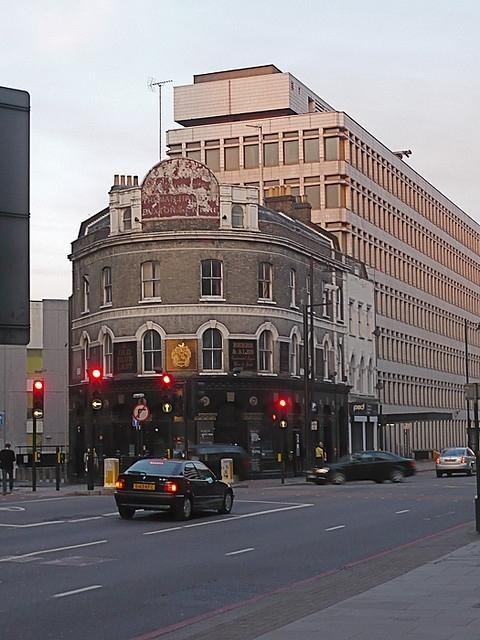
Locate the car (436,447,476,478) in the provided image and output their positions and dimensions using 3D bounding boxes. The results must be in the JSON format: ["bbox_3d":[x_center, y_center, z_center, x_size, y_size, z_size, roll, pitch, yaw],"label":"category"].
[{"bbox_3d":[9.967,6.527,48.805,1.236,1.334,2.192,-8,-11,41],"label":"car"}]

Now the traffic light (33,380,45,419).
[{"bbox_3d":[-6.711,2.570,35.158,0.313,1.300,1.284,1,-8,-14],"label":"traffic light"}]

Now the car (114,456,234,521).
[{"bbox_3d":[-1.319,3.804,24.092,1.147,1.012,2.640,-2,-4,27],"label":"car"}]

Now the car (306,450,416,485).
[{"bbox_3d":[4.918,5.894,42.427,4.052,1.314,1.792,-2,-8,5],"label":"car"}]
